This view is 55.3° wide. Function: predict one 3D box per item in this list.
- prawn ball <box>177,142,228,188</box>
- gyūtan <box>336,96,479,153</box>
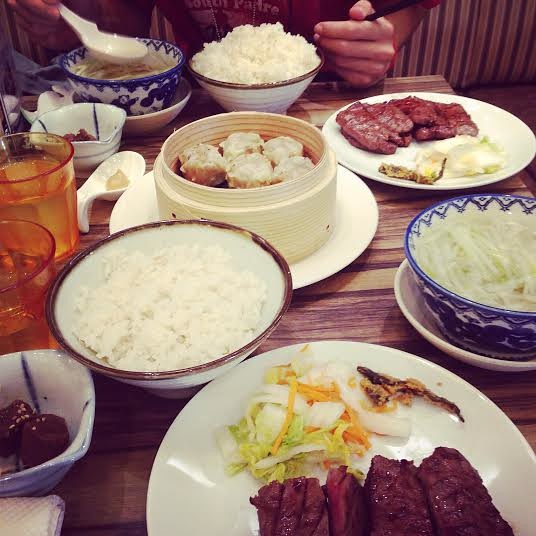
[{"bbox_3d":[-0.208,-0.316,1.596,0.166,0.082,0.154,-2,41,2],"label":"prawn ball"},{"bbox_3d":[0.587,-0.611,2.153,0.494,0.093,0.305,-10,38,-12],"label":"gyūtan"}]
